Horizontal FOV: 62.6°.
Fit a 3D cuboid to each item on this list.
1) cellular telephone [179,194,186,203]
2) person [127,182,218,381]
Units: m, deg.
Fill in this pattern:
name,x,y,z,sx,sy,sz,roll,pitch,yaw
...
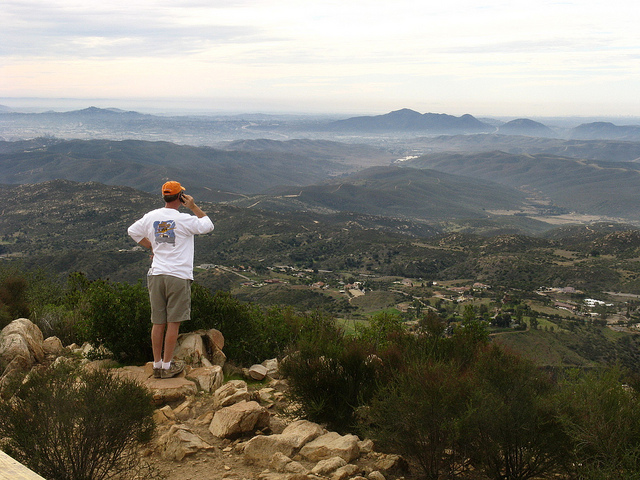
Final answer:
name,x,y,z,sx,sy,sz,roll,pitch,yaw
cellular telephone,-1.981,-0.594,7.551,0.076,0.091,0.058,-11,7,42
person,-2.150,0.584,7.385,1.006,2.424,0.564,9,-4,-10
